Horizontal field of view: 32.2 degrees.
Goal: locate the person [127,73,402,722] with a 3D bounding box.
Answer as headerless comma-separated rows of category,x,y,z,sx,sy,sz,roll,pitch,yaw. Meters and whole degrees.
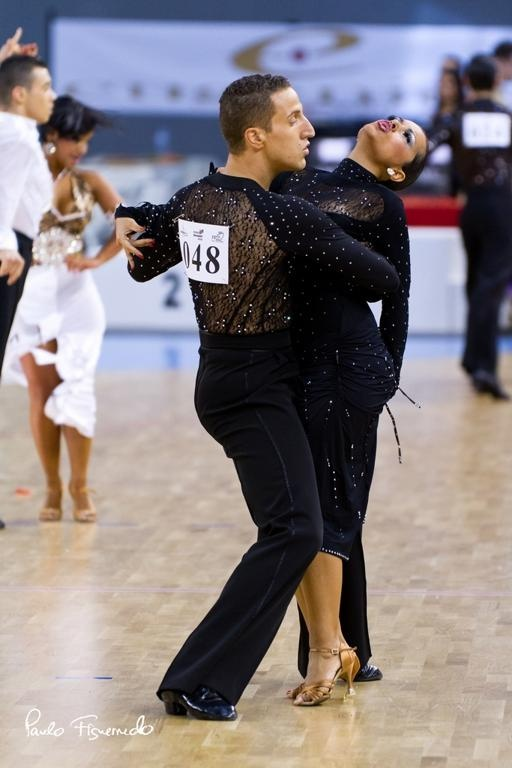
person,-0.060,0.021,1.999,0.471,1.381,0.548,-2,6,-37

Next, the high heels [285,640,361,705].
high heels,0.167,0.659,2.066,0.081,0.117,0.240,-1,2,41

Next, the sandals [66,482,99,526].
sandals,-0.714,0.512,3.672,0.079,0.096,0.236,-2,8,-12

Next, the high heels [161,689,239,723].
high heels,-0.111,0.670,1.886,0.200,0.071,0.068,3,3,-1
